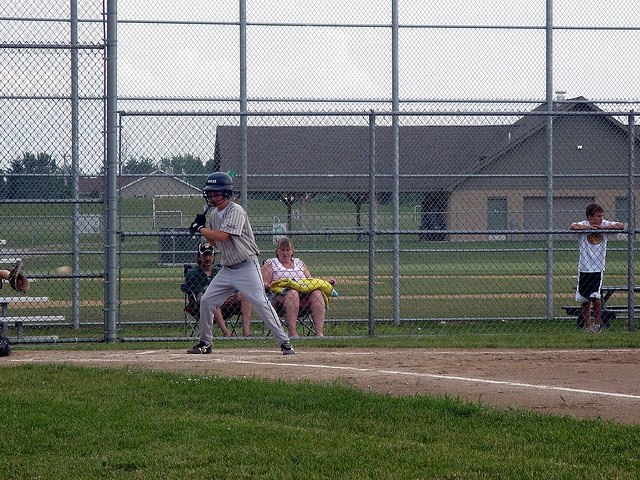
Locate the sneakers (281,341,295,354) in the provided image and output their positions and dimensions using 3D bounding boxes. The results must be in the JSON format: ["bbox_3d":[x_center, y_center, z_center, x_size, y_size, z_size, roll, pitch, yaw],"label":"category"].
[{"bbox_3d":[-0.443,1.441,18.336,0.184,0.169,0.268,0,-2,-3],"label":"sneakers"}]

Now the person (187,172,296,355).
[{"bbox_3d":[-1.109,0.327,18.366,1.490,2.483,0.831,0,-1,11],"label":"person"}]

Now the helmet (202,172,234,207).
[{"bbox_3d":[-1.363,-0.747,18.449,0.517,0.472,0.416,-8,11,-25],"label":"helmet"}]

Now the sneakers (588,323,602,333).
[{"bbox_3d":[4.179,1.311,20.621,0.225,0.107,0.100,5,3,31],"label":"sneakers"}]

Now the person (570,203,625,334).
[{"bbox_3d":[4.176,0.398,20.715,0.707,1.944,1.024,0,-2,10],"label":"person"}]

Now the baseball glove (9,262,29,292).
[{"bbox_3d":[-3.863,0.467,17.320,0.167,0.479,0.197,-5,14,-39],"label":"baseball glove"}]

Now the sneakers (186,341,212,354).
[{"bbox_3d":[-1.668,1.444,18.522,0.395,0.178,0.137,1,2,-7],"label":"sneakers"}]

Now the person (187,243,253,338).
[{"bbox_3d":[-1.663,0.774,20.161,0.862,1.594,0.911,-5,-6,27],"label":"person"}]

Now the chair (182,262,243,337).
[{"bbox_3d":[-1.608,0.889,20.675,1.037,1.373,0.994,3,-5,-41],"label":"chair"}]

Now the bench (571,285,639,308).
[{"bbox_3d":[4.686,0.941,21.852,1.004,0.266,0.326,-4,25,-15],"label":"bench"}]
